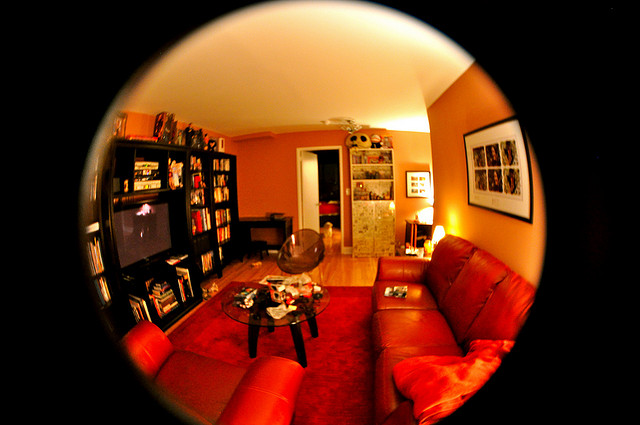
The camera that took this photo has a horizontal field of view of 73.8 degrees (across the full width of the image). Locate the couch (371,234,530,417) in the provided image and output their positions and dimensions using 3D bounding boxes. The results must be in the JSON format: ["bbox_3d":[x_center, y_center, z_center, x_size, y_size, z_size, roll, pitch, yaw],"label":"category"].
[{"bbox_3d":[0.645,0.244,2.380,0.533,0.642,1.449,5,8,3],"label":"couch"}]

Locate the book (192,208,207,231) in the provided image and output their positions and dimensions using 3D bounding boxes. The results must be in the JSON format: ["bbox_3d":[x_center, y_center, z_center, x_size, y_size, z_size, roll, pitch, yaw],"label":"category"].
[{"bbox_3d":[-1.072,0.050,3.860,0.136,0.192,0.189,-6,9,-16],"label":"book"}]

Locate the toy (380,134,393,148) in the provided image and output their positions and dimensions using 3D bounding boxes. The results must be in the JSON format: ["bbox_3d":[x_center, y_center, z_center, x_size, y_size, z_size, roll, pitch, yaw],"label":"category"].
[{"bbox_3d":[0.778,-0.852,4.917,0.134,0.158,0.036,-3,-4,8],"label":"toy"}]

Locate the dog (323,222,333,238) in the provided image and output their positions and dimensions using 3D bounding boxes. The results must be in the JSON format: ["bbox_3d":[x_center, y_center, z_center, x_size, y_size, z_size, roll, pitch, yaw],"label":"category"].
[{"bbox_3d":[0.126,0.265,6.363,0.163,0.236,0.168,2,6,34],"label":"dog"}]

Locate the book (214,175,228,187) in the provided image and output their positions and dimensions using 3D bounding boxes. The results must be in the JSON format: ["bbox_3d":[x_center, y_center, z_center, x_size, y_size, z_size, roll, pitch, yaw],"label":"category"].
[{"bbox_3d":[-1.031,-0.333,4.450,0.087,0.123,0.124,0,6,5],"label":"book"}]

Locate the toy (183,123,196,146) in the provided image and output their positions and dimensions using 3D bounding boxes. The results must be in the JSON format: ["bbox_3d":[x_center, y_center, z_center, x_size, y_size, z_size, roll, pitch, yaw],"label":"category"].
[{"bbox_3d":[-1.094,-0.648,3.572,0.068,0.203,0.302,0,2,-12],"label":"toy"}]

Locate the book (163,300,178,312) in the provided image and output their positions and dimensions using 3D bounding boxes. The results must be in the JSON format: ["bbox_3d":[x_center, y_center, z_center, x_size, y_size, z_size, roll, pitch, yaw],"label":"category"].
[{"bbox_3d":[-1.086,0.686,3.100,0.024,0.030,0.168,1,5,14],"label":"book"}]
